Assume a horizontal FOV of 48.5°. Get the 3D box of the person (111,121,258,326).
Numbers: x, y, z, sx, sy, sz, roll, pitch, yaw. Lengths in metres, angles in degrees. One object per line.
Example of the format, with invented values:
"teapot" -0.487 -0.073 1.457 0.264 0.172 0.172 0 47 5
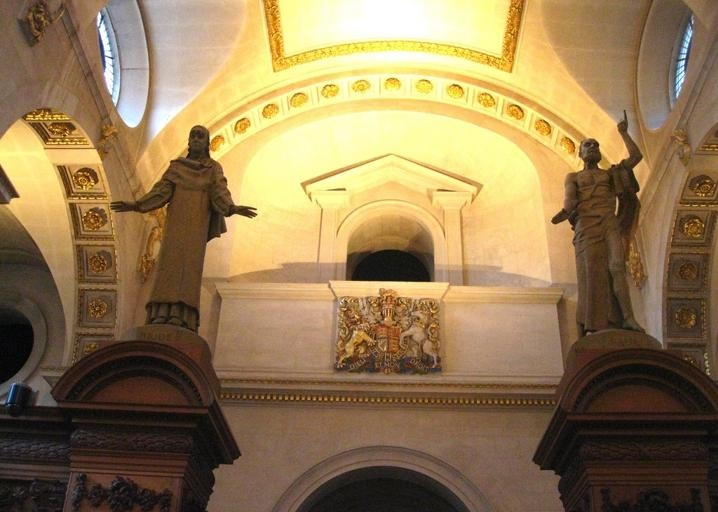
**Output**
"person" -1.947 -0.205 8.574 0.926 1.994 0.613 15 -39 -14
